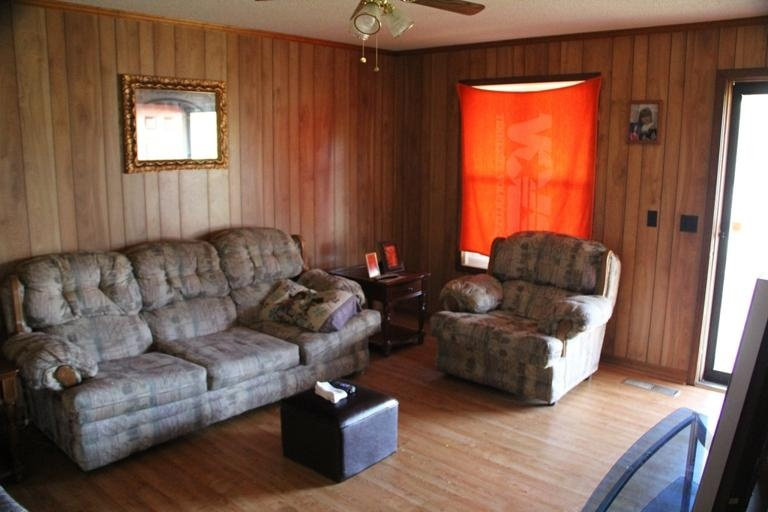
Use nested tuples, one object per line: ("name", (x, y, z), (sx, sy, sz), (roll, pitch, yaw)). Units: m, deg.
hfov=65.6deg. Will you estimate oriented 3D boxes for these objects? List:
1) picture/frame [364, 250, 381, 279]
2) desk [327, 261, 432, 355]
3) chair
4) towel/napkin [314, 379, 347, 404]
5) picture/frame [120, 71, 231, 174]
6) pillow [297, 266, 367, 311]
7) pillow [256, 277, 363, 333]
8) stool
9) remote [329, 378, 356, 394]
("picture/frame", (-0.107, 0.097, 5.918), (0.030, 0.353, 0.315), (-14, -8, 34))
("desk", (-0.036, 0.431, 6.025), (0.952, 0.808, 0.918), (2, 6, 24))
("chair", (1.231, 0.473, 5.282), (1.353, 1.248, 1.092), (11, 17, 37))
("towel/napkin", (-0.375, 0.949, 4.175), (0.169, 0.058, 0.126), (6, 8, 43))
("picture/frame", (-1.842, -1.162, 5.133), (1.002, 0.775, 0.065), (-6, 11, -43))
("pillow", (-0.499, 0.278, 5.508), (0.548, 0.178, 0.337), (15, 9, 29))
("pillow", (-0.683, 0.430, 5.151), (0.650, 0.208, 0.406), (11, 42, 25))
("stool", (-0.301, 1.144, 4.193), (0.651, 0.431, 0.653), (8, 10, 37))
("remote", (-0.285, 0.933, 4.293), (0.148, 0.048, 0.081), (18, 14, 36))
